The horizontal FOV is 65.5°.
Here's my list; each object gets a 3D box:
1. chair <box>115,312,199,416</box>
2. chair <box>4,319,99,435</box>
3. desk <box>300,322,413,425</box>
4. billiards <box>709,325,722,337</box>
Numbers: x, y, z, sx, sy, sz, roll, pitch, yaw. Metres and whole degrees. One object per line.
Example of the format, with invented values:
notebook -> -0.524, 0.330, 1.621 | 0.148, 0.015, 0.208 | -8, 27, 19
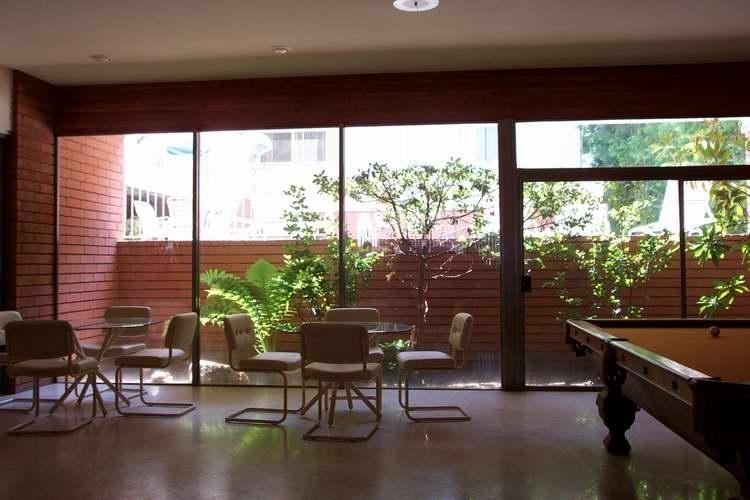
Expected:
chair -> -2.555, 1.243, 6.823 | 0.915, 1.112, 1.255 | -4, 8, -24
chair -> -3.424, 1.277, 6.192 | 0.847, 1.175, 0.819 | 3, 8, 30
desk -> -0.299, 1.196, 6.223 | 1.150, 1.223, 1.079 | 0, -3, 11
billiards -> 3.001, 0.717, 5.172 | 0.101, 0.105, 0.098 | -3, -2, 18
